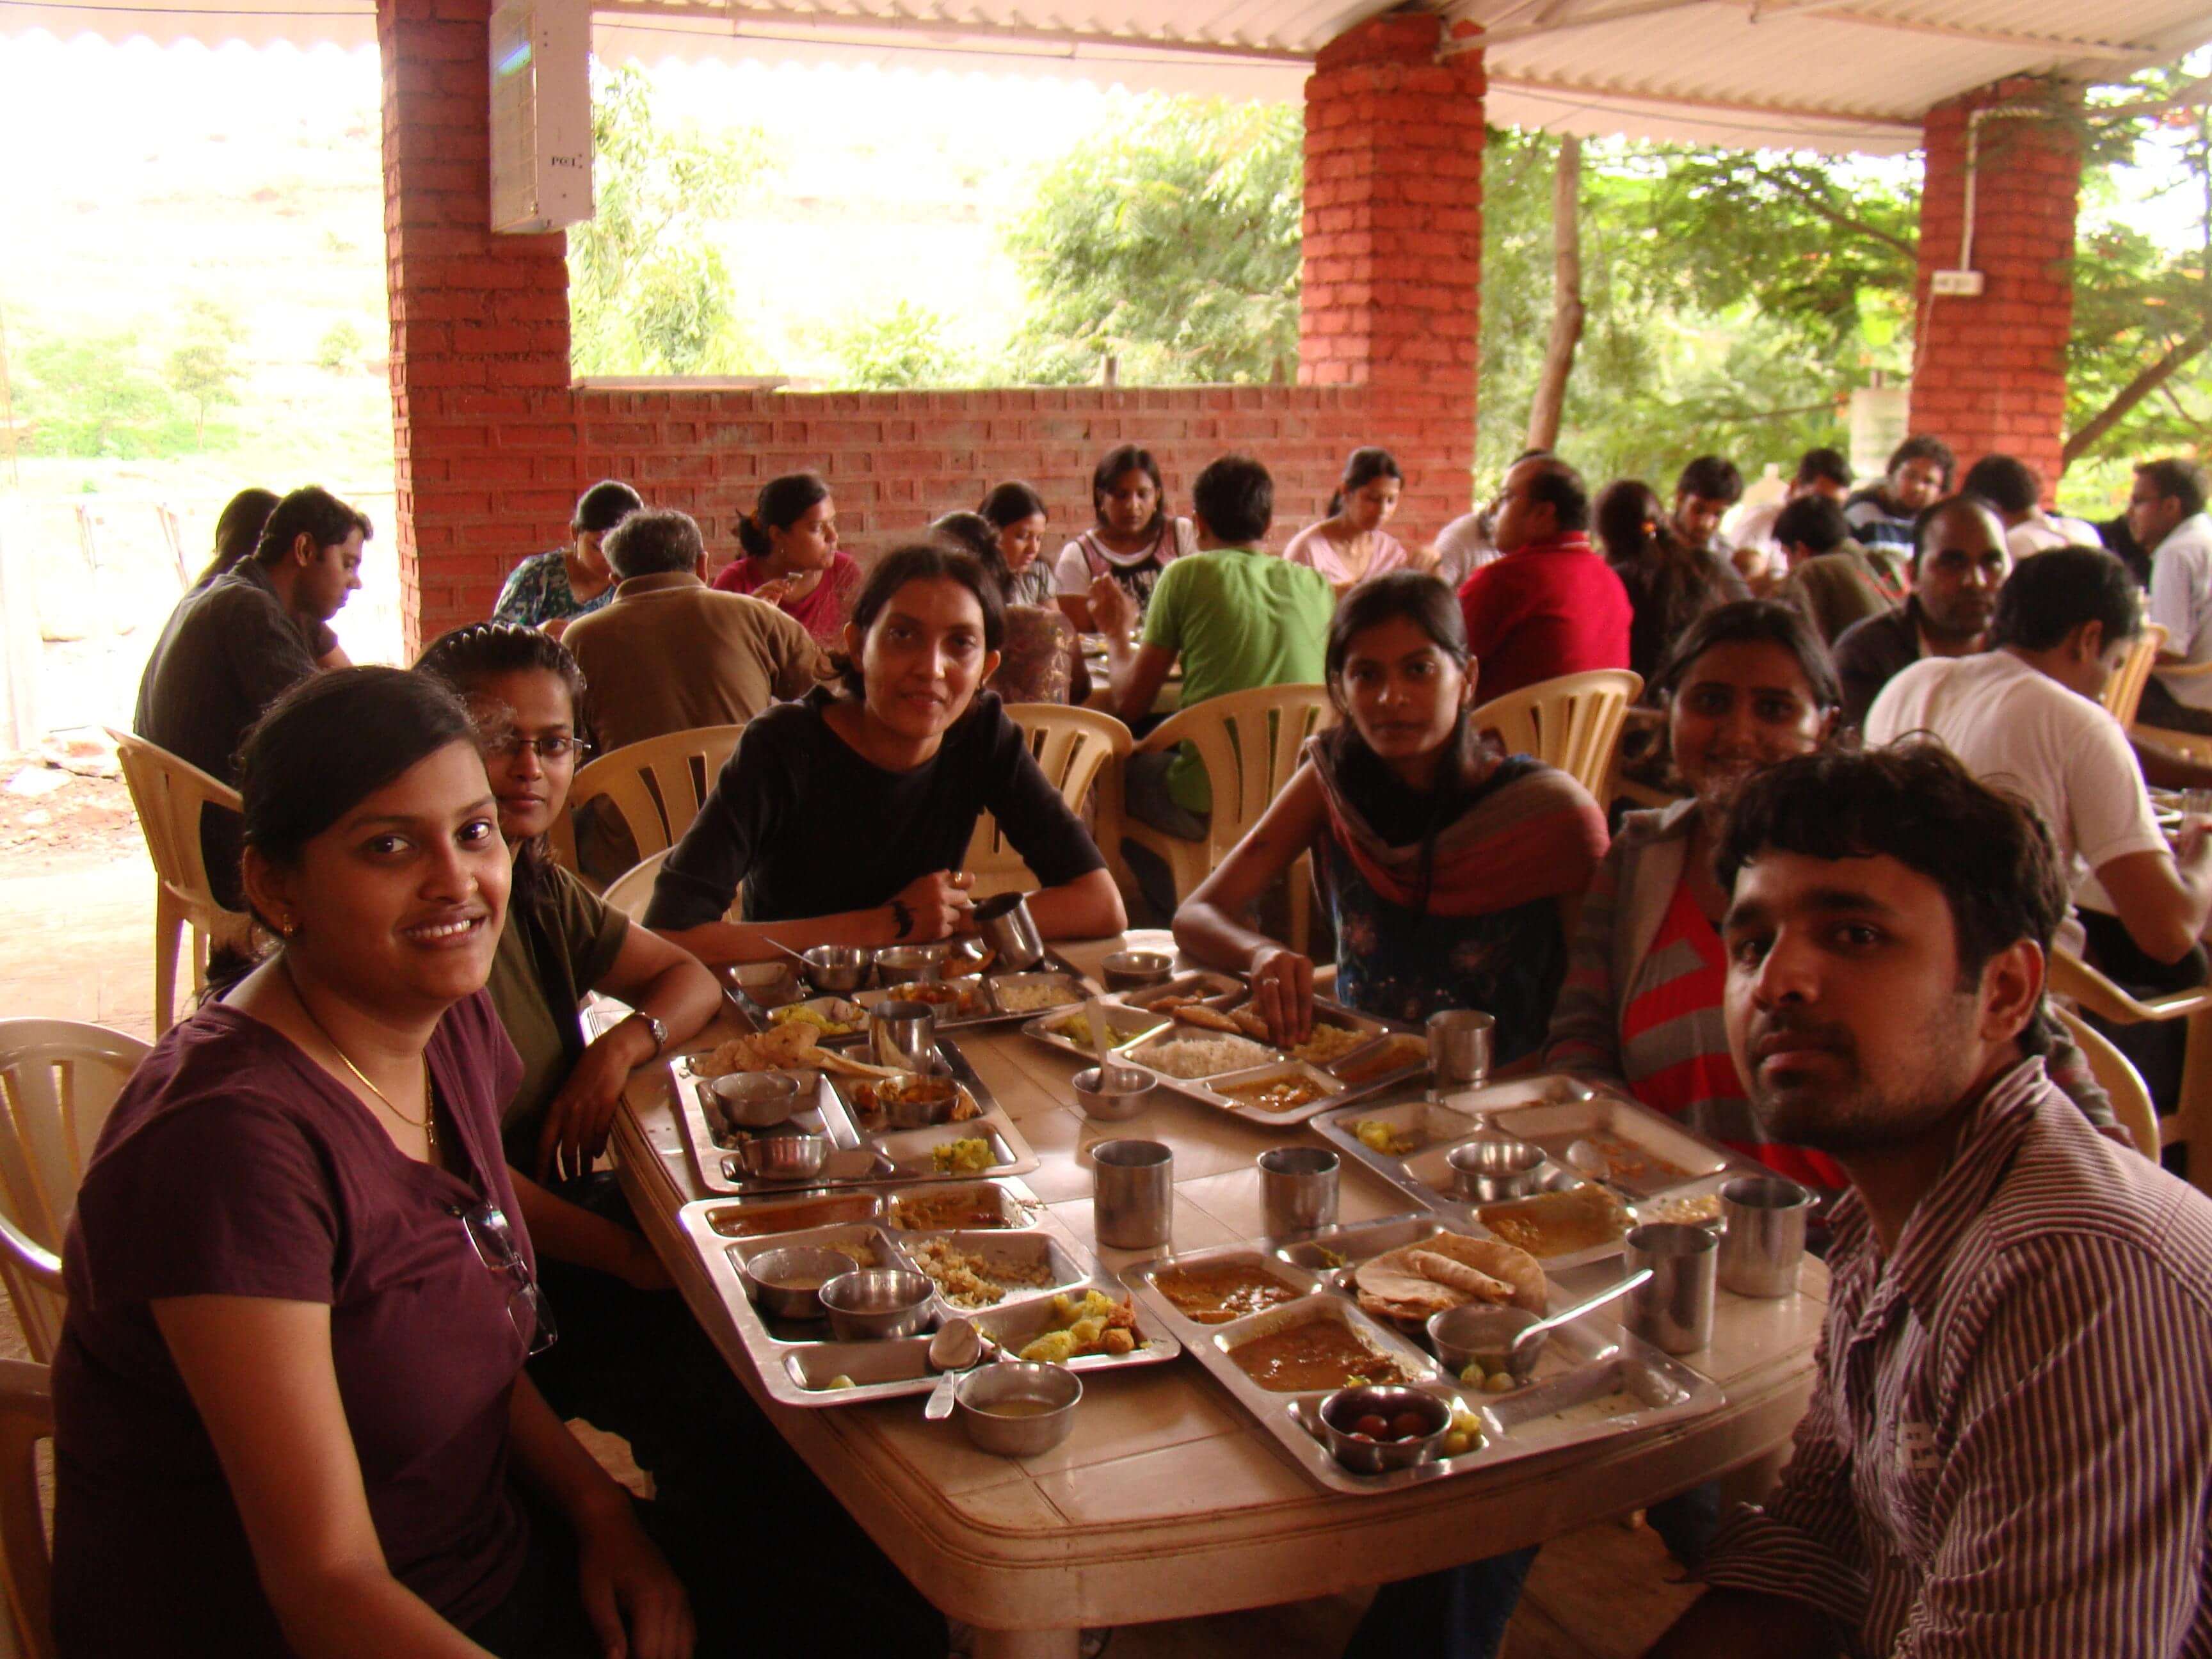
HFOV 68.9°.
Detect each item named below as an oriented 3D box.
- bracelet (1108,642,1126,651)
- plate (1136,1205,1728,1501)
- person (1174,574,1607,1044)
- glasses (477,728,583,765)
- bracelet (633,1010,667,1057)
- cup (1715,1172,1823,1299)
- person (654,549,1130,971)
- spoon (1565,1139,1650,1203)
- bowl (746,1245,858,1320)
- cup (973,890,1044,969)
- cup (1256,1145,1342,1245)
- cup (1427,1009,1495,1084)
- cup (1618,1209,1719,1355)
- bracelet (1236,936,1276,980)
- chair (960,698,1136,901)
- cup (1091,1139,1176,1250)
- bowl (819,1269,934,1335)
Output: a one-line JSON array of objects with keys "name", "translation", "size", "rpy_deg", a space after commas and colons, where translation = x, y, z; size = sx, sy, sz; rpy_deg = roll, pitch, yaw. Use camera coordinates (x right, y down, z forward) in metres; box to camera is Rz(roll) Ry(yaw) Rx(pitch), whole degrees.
[{"name": "bracelet", "translation": [0.037, -0.609, 5.406], "size": [0.038, 0.040, 0.044], "rpy_deg": [3, 7, 34]}, {"name": "plate", "translation": [0.324, 0.532, 1.613], "size": [0.340, 0.044, 0.325], "rpy_deg": [-7, 16, -26]}, {"name": "person", "translation": [0.580, -0.042, 3.357], "size": [0.863, 1.201, 0.694], "rpy_deg": [13, 26, 40]}, {"name": "glasses", "translation": [-0.857, -0.124, 2.378], "size": [0.108, 0.031, 0.105], "rpy_deg": [0, -2, -42]}, {"name": "bracelet", "translation": [-0.677, 0.305, 2.414], "size": [0.021, 0.054, 0.047], "rpy_deg": [-22, -14, 0]}, {"name": "cup", "translation": [0.718, 0.443, 1.762], "size": [0.097, 0.109, 0.126], "rpy_deg": [1, 9, 2]}, {"name": "person", "translation": [-0.461, -0.129, 3.402], "size": [1.077, 1.015, 0.588], "rpy_deg": [-4, 30, -26]}, {"name": "spoon", "translation": [0.629, 0.427, 2.034], "size": [0.070, 0.018, 0.066], "rpy_deg": [1, 14, -13]}, {"name": "bowl", "translation": [-0.337, 0.483, 1.730], "size": [0.079, 0.031, 0.077], "rpy_deg": [1, 10, 0]}, {"name": "cup", "translation": [-0.159, 0.171, 2.784], "size": [0.122, 0.132, 0.120], "rpy_deg": [-22, 1, 1]}, {"name": "cup", "translation": [0.222, 0.422, 1.873], "size": [0.095, 0.100, 0.095], "rpy_deg": [-1, 5, 0]}, {"name": "cup", "translation": [0.497, 0.308, 2.317], "size": [0.099, 0.096, 0.090], "rpy_deg": [-7, 14, -23]}, {"name": "cup", "translation": [0.580, 0.464, 1.657], "size": [0.112, 0.124, 0.118], "rpy_deg": [0, 9, 0]}, {"name": "bracelet", "translation": [0.259, 0.214, 2.732], "size": [0.057, 0.054, 0.018], "rpy_deg": [4, -19, 3]}, {"name": "chair", "translation": [-0.142, -0.144, 4.432], "size": [0.522, 0.628, 0.481], "rpy_deg": [-4, 34, -11]}, {"name": "cup", "translation": [0.029, 0.423, 1.885], "size": [0.111, 0.112, 0.102], "rpy_deg": [-2, 12, 0]}, {"name": "bowl", "translation": [-0.237, 0.489, 1.663], "size": [0.080, 0.031, 0.070], "rpy_deg": [-8, 14, -27]}]
